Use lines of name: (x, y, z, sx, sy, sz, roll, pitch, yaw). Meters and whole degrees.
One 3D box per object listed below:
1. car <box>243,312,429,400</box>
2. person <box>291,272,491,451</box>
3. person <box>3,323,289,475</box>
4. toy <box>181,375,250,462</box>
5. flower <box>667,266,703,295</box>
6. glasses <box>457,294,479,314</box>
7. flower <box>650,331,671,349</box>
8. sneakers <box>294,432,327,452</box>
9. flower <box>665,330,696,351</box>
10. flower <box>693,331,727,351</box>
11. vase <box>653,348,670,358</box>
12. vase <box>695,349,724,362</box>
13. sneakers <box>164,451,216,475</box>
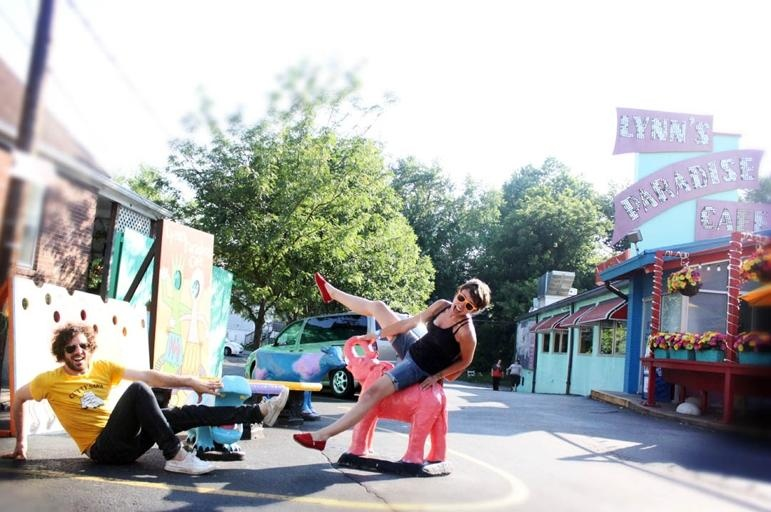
car: (-2.039, 2.278, 12.211, 2.432, 1.804, 4.663, 8, -7, -43)
person: (-0.017, 0.868, 4.920, 0.892, 1.477, 2.352, 32, 17, 36)
person: (-2.104, 1.245, 4.505, 2.138, 1.120, 0.905, 3, -3, -10)
toy: (-1.673, 1.693, 5.091, 0.590, 0.661, 0.963, 6, -18, -19)
flower: (7.504, 0.680, 12.643, 0.767, 0.597, 0.754, 1, -2, -28)
glasses: (0.816, 0.482, 4.860, 0.283, 0.157, 0.150, 15, -16, -42)
flower: (6.969, 2.189, 12.661, 0.418, 0.244, 0.423, 3, 1, 28)
sneakers: (-0.674, 1.652, 4.506, 0.337, 0.127, 0.182, 21, -12, -15)
flower: (7.027, 2.031, 11.833, 0.459, 0.237, 0.462, 0, -4, 21)
flower: (7.217, 1.911, 11.089, 0.449, 0.315, 0.450, -5, -2, 22)
vase: (7.045, 2.523, 12.768, 0.214, 0.272, 0.386, 2, -5, 3)
vase: (7.208, 2.232, 11.126, 0.150, 0.246, 0.699, 6, -12, -9)
sneakers: (-1.658, 1.755, 4.303, 0.436, 0.172, 0.178, 5, -9, 1)
